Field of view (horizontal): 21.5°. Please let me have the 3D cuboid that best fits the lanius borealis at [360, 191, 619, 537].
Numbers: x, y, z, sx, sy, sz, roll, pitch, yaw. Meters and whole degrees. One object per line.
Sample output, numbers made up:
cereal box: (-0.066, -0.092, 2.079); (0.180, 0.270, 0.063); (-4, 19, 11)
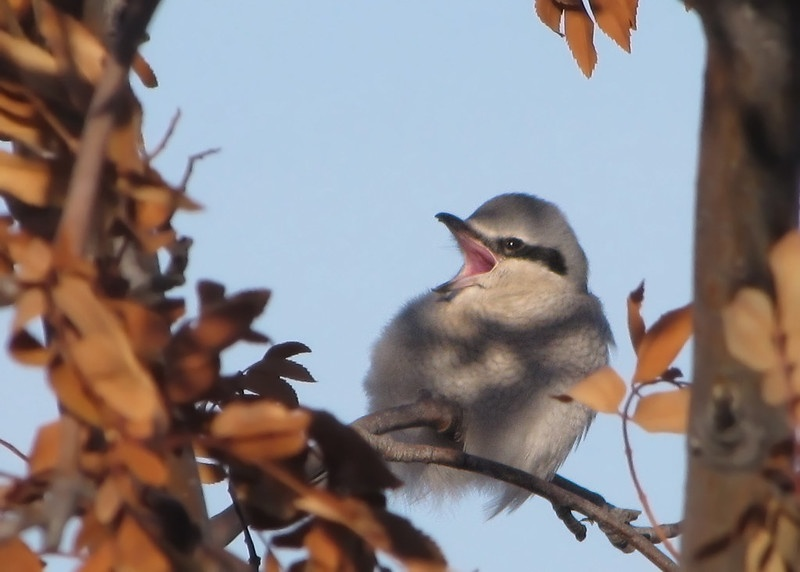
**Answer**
lanius borealis: (0.180, 0.155, 3.939); (0.433, 0.673, 0.422); (-2, -21, 34)
